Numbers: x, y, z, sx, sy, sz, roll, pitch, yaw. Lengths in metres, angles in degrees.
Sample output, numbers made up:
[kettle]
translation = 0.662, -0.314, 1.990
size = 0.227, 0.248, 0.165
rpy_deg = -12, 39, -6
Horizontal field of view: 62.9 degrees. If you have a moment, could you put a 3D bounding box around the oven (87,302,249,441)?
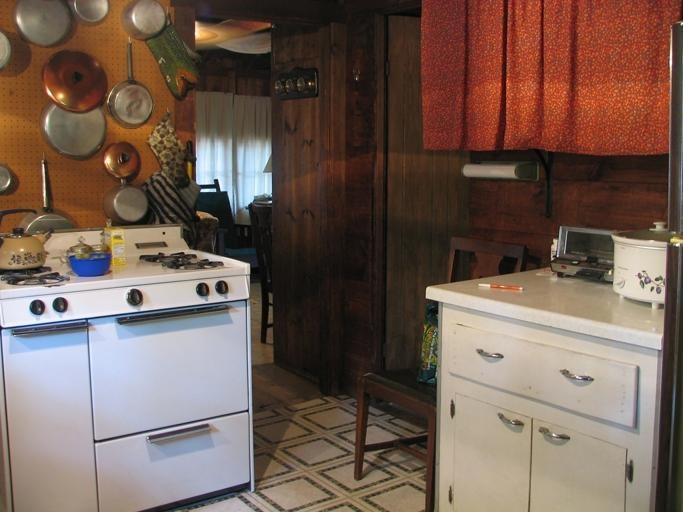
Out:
[oven]
translation = -0.868, 0.419, 2.649
size = 0.594, 0.559, 0.517
rpy_deg = -3, 14, -35

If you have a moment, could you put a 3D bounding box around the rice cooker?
[rice cooker]
translation = 1.119, 0.025, 2.004
size = 0.251, 0.285, 0.252
rpy_deg = -3, 10, -35

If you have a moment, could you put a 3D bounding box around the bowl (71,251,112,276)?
[bowl]
translation = -1.100, 0.018, 2.432
size = 0.115, 0.054, 0.118
rpy_deg = -1, 6, 0
